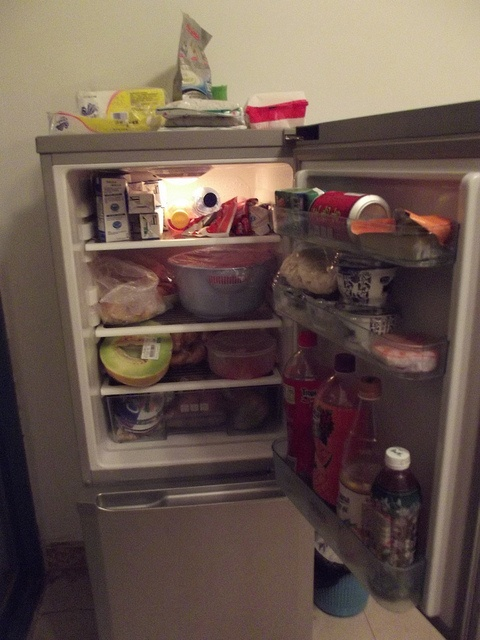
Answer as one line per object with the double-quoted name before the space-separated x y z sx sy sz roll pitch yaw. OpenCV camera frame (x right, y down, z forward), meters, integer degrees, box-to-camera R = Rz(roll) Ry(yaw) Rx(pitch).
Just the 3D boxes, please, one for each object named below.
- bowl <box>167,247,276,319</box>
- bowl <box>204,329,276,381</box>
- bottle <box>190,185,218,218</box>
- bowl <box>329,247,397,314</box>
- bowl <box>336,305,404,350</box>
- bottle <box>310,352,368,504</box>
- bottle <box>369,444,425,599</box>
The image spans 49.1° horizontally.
"bowl" -0.041 -0.103 1.472 0.265 0.156 0.299 -3 18 -3
"bowl" -0.004 0.117 1.442 0.130 0.072 0.147 -1 -1 39
"bottle" -0.087 -0.317 1.421 0.078 0.078 0.074 32 6 -18
"bowl" 0.184 -0.067 0.835 0.057 0.078 0.130 -11 22 -23
"bowl" 0.194 0.008 0.772 0.075 0.045 0.057 -1 19 6
"bottle" 0.185 0.227 0.966 0.103 0.329 0.102 5 5 0
"bottle" 0.223 0.275 0.749 0.073 0.202 0.150 3 21 15
